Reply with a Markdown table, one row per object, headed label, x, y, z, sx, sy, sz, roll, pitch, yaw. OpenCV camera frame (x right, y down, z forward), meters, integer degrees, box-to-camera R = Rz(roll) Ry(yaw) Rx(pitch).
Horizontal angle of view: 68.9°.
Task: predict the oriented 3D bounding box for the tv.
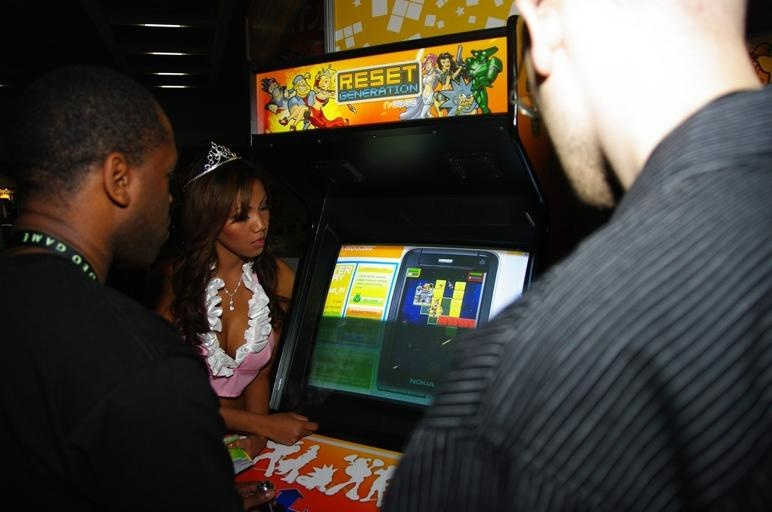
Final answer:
| label | x | y | z | sx | sy | sz | roll | pitch | yaw |
| --- | --- | --- | --- | --- | --- | --- | --- | --- | --- |
| tv | 0.063 | 0.213 | 1.562 | 0.597 | 0.579 | 0.198 | 5 | -24 | 28 |
